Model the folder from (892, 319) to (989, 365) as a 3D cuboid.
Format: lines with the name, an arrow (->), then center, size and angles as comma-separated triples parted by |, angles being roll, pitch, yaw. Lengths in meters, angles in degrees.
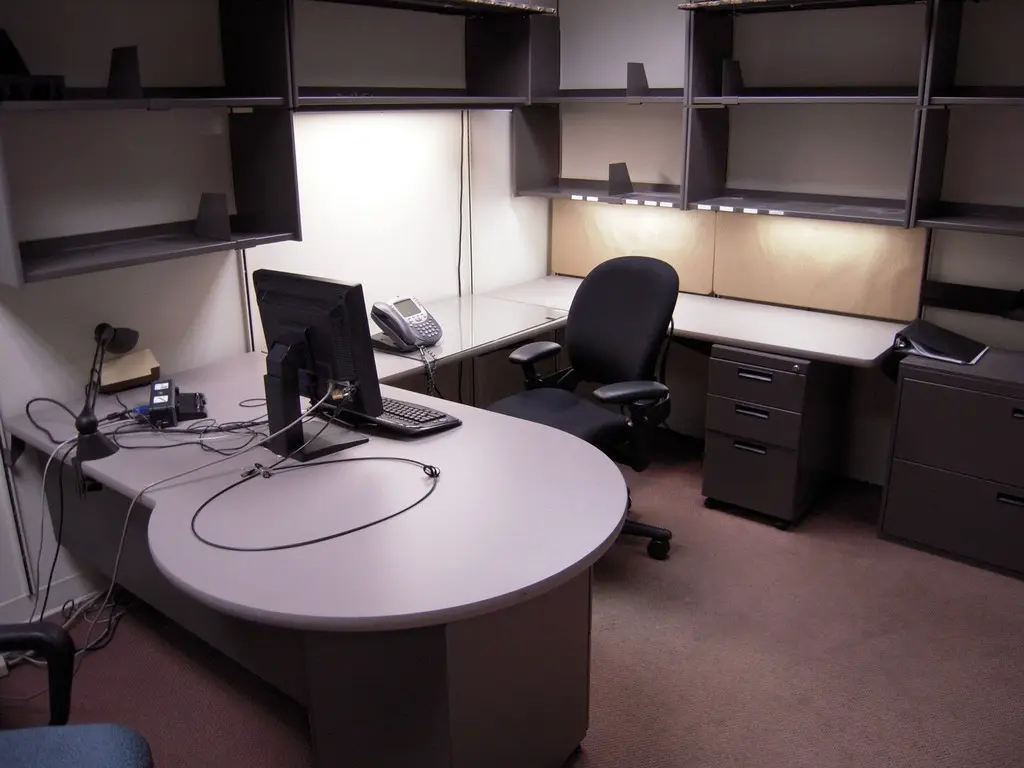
folder -> 1.827, -0.170, 3.293 | 0.235, 0.073, 0.254 | 16, 29, 37

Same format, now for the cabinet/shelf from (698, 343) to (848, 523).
cabinet/shelf -> 1.257, 0.160, 3.689 | 0.445, 0.795, 0.634 | 14, 24, 39

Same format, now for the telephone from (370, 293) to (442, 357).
telephone -> -0.464, -0.275, 3.372 | 0.292, 0.131, 0.331 | 20, 26, 6

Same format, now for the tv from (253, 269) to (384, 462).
tv -> -0.631, -0.034, 2.452 | 0.511, 0.648, 0.294 | 12, 22, 33

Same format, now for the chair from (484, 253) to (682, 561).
chair -> 0.286, 0.112, 3.268 | 0.722, 1.296, 0.853 | -4, 15, -29
